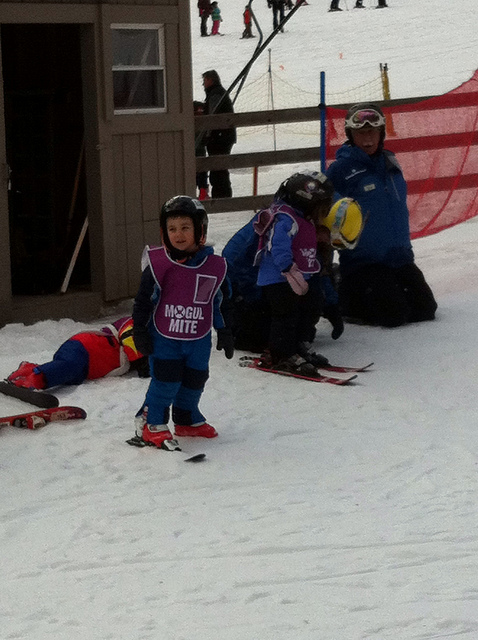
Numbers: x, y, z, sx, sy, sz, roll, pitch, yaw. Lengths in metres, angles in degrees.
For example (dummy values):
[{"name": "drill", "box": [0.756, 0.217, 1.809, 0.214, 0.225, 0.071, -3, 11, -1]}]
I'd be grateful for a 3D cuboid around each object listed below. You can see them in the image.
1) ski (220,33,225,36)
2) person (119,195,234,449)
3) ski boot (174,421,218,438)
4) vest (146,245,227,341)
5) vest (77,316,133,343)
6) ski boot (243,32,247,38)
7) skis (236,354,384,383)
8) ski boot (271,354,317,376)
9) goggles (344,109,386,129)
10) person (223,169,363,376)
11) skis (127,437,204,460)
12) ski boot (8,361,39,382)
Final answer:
[{"name": "ski", "box": [-0.765, -12.379, 33.992, 0.155, 0.106, 0.354, 1, 11, 8]}, {"name": "person", "box": [-0.259, -0.005, 3.564, 0.475, 1.112, 0.724, 4, 14, 22]}, {"name": "ski boot", "box": [-0.200, 0.511, 3.645, 0.213, 0.079, 0.069, -1, 5, 0]}, {"name": "vest", "box": [-0.240, -0.118, 3.328, 0.487, 0.461, 0.281, 3, 1, -19]}, {"name": "vest", "box": [-0.776, 0.051, 4.573, 0.285, 0.095, 0.199, -13, 6, -10]}, {"name": "ski boot", "box": [0.215, -12.156, 33.342, 0.236, 0.192, 0.059, 7, -1, 22]}, {"name": "skis", "box": [0.343, 0.299, 4.615, 0.556, 0.052, 0.285, 2, 8, 21]}, {"name": "ski boot", "box": [0.313, 0.258, 4.592, 0.311, 0.111, 0.099, 4, 16, 25]}, {"name": "goggles", "box": [0.828, -1.342, 5.229, 0.211, 0.073, 0.202, -2, -18, 0]}, {"name": "person", "box": [0.329, -0.313, 4.791, 0.763, 1.180, 0.905, -2, 13, -4]}, {"name": "skis", "box": [-0.321, 0.557, 3.360, 0.352, 0.042, 0.102, 8, 11, 30]}, {"name": "ski boot", "box": [-1.164, 0.271, 4.270, 0.095, 0.065, 0.199, 5, 20, 25]}]
